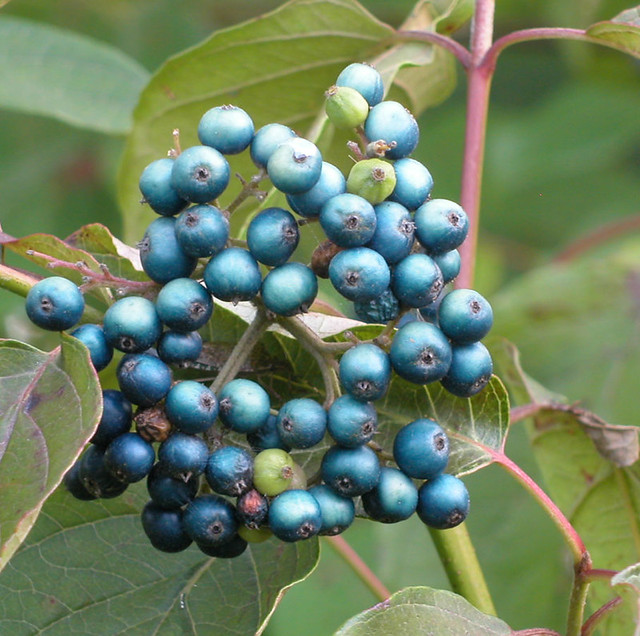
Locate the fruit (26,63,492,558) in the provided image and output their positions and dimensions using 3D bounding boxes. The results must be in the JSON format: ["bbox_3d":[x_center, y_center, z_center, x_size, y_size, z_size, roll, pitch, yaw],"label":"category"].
[{"bbox_3d":[-0.044,0.025,1.027,0.558,0.205,0.484,3,93,-9],"label":"fruit"}]
